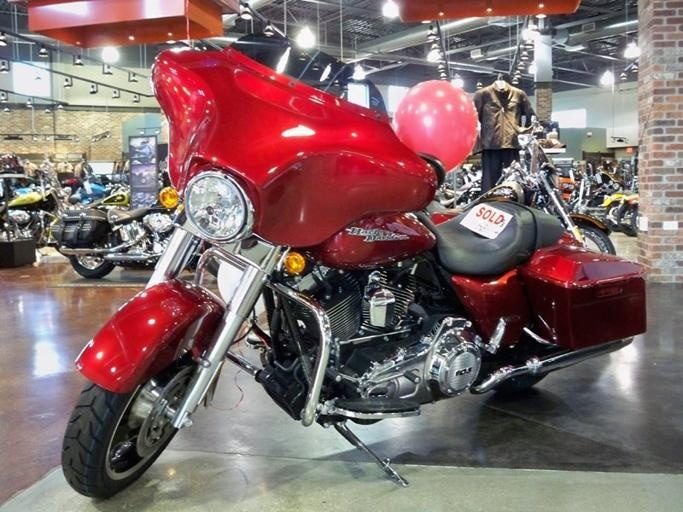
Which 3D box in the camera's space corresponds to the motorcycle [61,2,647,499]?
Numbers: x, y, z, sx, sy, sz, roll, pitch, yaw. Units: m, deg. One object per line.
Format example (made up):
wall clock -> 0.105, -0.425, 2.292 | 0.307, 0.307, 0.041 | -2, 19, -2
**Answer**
motorcycle -> 0.186, -0.118, 2.386 | 3.208, 1.353, 1.218 | -4, 12, -32
